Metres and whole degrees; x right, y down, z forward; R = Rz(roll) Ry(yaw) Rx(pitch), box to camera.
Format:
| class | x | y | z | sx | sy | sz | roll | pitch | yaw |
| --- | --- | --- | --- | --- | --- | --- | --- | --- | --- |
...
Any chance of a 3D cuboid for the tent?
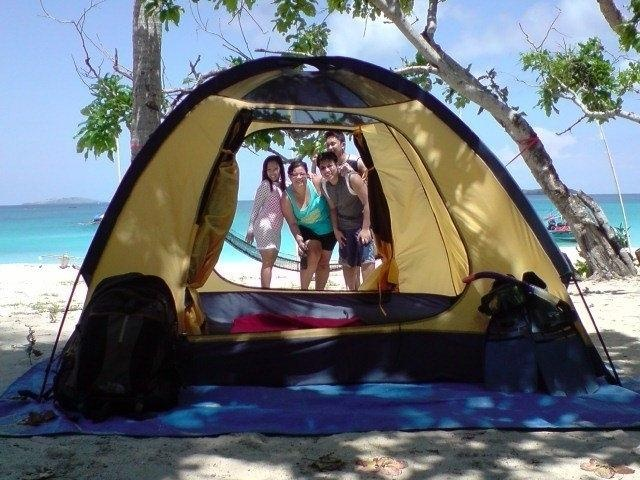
| class | x | y | z | sx | sy | sz | roll | pitch | yaw |
| --- | --- | --- | --- | --- | --- | --- | --- | --- | --- |
| tent | -0.124 | -0.159 | 4.337 | 3.084 | 1.800 | 3.019 | 1 | -1 | -6 |
